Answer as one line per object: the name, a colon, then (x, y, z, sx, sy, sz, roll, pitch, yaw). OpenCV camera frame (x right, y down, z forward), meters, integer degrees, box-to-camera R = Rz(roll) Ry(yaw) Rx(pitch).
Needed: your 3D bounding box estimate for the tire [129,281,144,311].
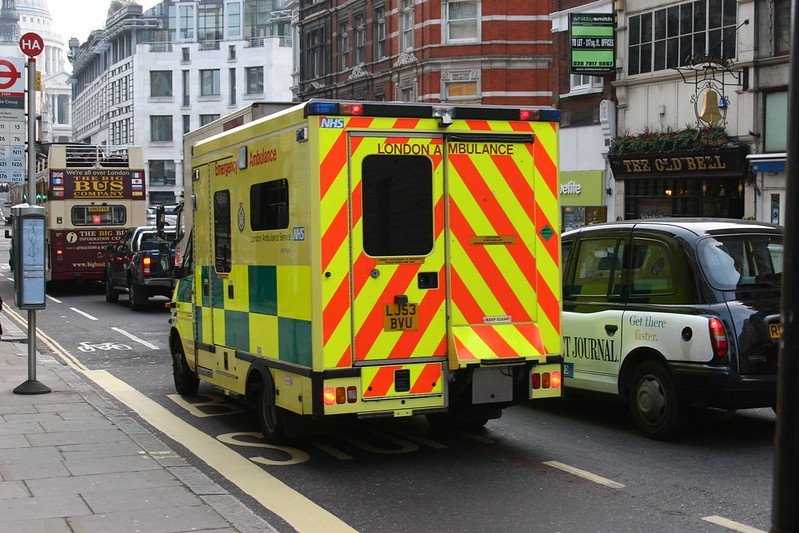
tire: (-6.560, 0.703, 23.673, 0.204, 0.610, 0.612, -4, 16, -30)

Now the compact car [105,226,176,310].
compact car: (-6.460, 0.035, 24.518, 2.176, 1.882, 4.462, 0, 4, -20)

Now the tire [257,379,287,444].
tire: (-1.426, 1.595, 10.657, 0.284, 0.786, 0.789, -3, 5, -22)

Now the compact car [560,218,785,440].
compact car: (3.246, 0.686, 11.311, 1.186, 2.459, 2.577, -6, 9, -38)

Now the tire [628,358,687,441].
tire: (2.969, 1.524, 10.955, 0.183, 0.896, 0.766, -6, 9, -39)

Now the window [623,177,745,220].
window: (8.422, -2.034, 28.195, 0.380, 1.405, 4.775, -4, 8, -27)

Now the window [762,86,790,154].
window: (9.923, -3.831, 25.094, 0.294, 1.616, 0.744, -2, 8, -16)

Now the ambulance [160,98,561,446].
ambulance: (-0.375, 0.070, 10.610, 4.384, 3.758, 2.253, 1, 7, 8)

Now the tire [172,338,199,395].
tire: (-2.963, 1.352, 13.162, 0.228, 0.639, 0.641, -5, 34, -28)

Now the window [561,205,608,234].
window: (5.016, -1.356, 25.564, 0.863, 1.055, 1.595, -3, 5, -28)
